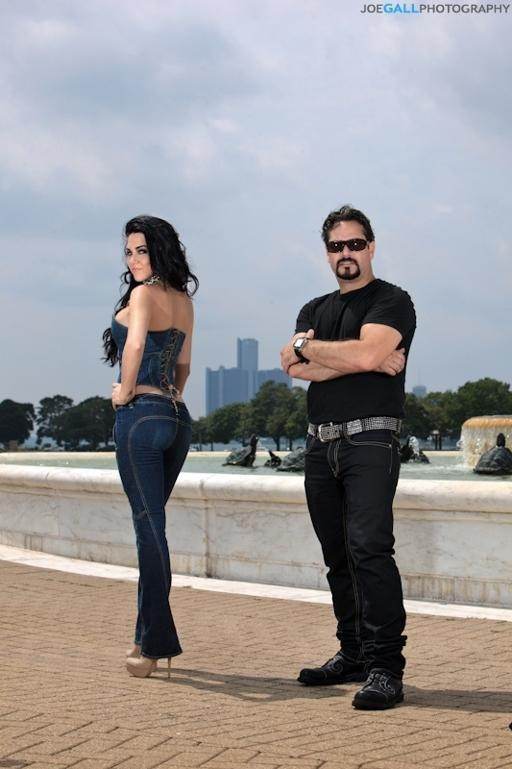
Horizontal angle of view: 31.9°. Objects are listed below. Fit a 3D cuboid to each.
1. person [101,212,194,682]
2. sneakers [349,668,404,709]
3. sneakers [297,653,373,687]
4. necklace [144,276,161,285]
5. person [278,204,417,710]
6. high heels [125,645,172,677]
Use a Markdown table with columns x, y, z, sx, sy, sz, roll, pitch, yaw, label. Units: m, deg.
| x | y | z | sx | sy | sz | roll | pitch | yaw | label |
| --- | --- | --- | --- | --- | --- | --- | --- | --- | --- |
| -0.472 | 0.251 | 4.172 | 0.363 | 2.128 | 0.430 | -2 | -4 | 5 | person |
| 0.456 | 1.170 | 3.389 | 0.111 | 0.113 | 0.194 | -4 | -5 | 34 | sneakers |
| 0.327 | 1.249 | 3.886 | 0.355 | 0.133 | 0.119 | 5 | -10 | -19 | sneakers |
| -0.487 | -0.479 | 4.167 | 0.058 | 0.047 | 0.021 | 18 | -17 | 2 | necklace |
| 0.422 | 0.236 | 3.793 | 0.531 | 2.109 | 0.794 | -1 | -4 | -12 | person |
| -0.520 | 1.248 | 4.021 | 0.136 | 0.130 | 0.163 | -1 | -4 | -9 | high heels |
